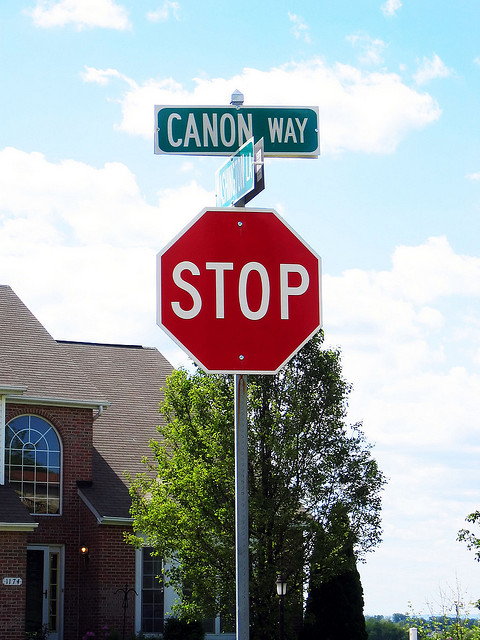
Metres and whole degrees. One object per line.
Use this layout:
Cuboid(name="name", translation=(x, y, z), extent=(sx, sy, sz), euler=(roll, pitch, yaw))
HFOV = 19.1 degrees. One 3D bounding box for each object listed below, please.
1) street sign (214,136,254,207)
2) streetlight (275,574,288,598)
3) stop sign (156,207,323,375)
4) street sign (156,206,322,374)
Cuboid(name="street sign", translation=(-0.063, -1.454, 14.373), extent=(0.023, 0.644, 0.581), euler=(19, -22, -38))
Cuboid(name="streetlight", translation=(0.654, 4.532, 24.432), extent=(0.253, 0.421, 0.297), euler=(5, -15, -21))
Cuboid(name="stop sign", translation=(-0.064, -0.380, 14.423), extent=(1.065, 1.787, 1.458), euler=(10, -15, -18))
Cuboid(name="street sign", translation=(-0.025, -0.310, 14.157), extent=(1.604, 1.654, 0.291), euler=(-1, -14, -3))
